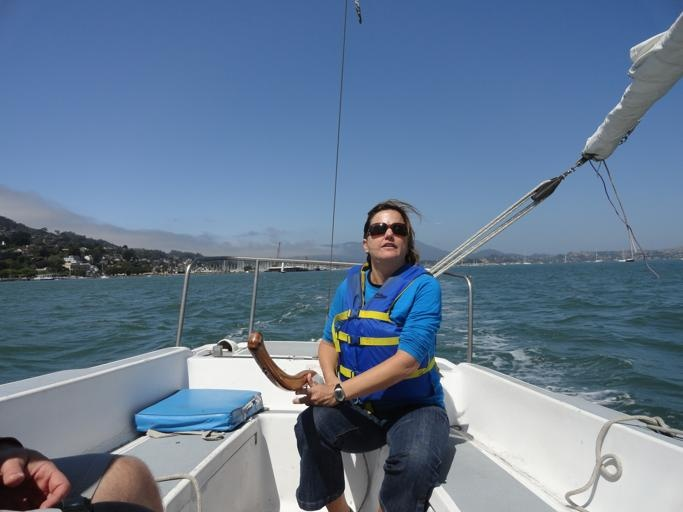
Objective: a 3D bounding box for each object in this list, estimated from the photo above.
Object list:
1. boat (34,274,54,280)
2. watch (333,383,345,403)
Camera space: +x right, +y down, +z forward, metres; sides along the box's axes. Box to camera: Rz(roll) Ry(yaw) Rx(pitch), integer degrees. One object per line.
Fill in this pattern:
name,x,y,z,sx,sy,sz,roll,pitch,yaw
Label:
boat,-33.819,2.470,48.764,1.665,0.750,5.049,6,-7,-32
watch,-0.009,0.588,1.828,0.055,0.074,0.075,-6,-11,-1
